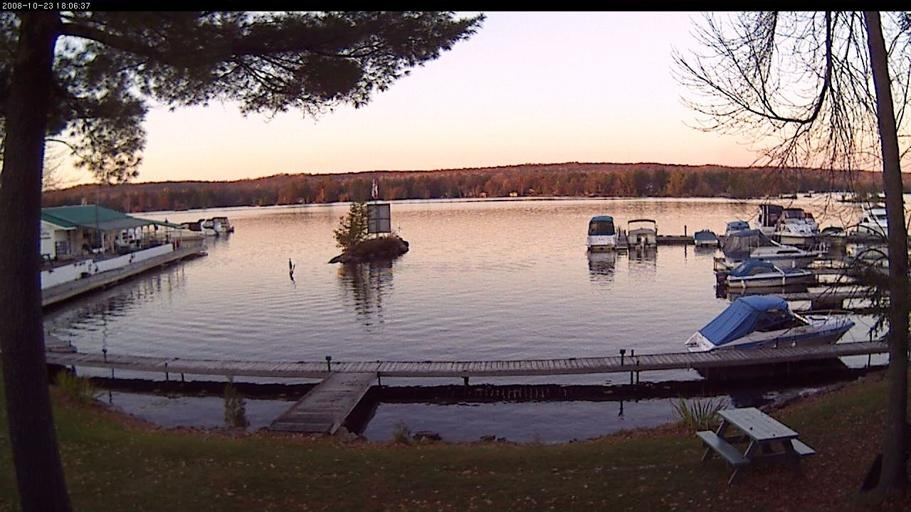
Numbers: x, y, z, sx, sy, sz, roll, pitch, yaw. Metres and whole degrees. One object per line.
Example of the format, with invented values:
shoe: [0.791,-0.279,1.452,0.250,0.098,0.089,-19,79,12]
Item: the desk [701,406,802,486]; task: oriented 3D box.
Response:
desk: [9.005,5.643,21.657,2.814,1.318,2.540,-5,8,-17]
